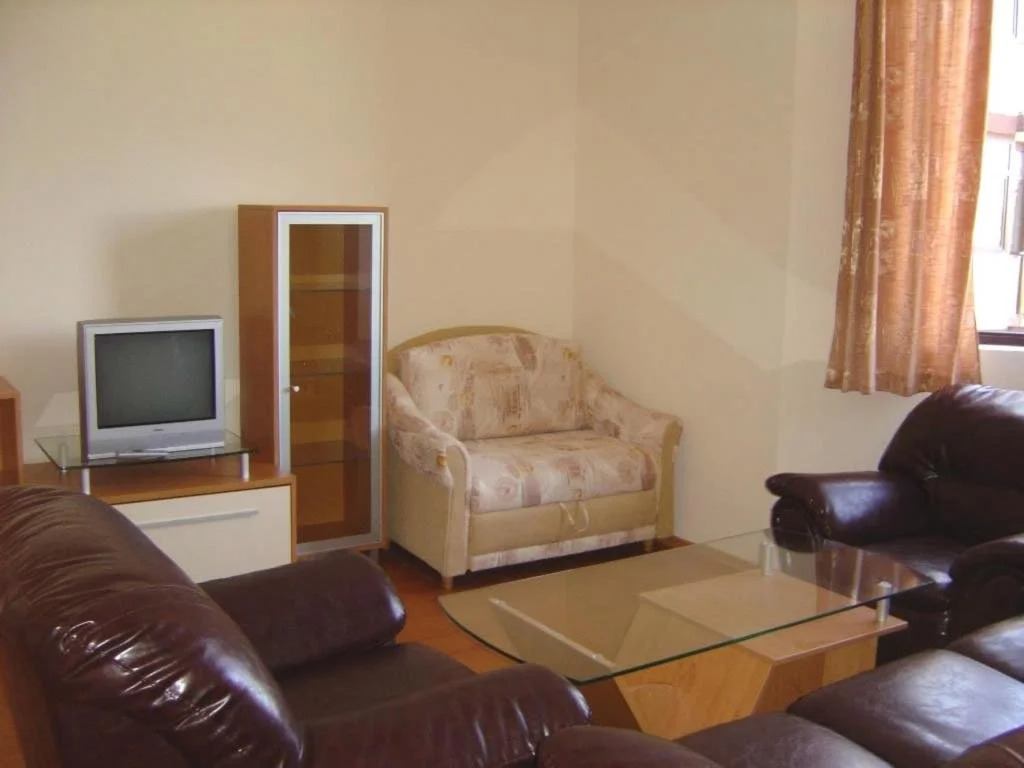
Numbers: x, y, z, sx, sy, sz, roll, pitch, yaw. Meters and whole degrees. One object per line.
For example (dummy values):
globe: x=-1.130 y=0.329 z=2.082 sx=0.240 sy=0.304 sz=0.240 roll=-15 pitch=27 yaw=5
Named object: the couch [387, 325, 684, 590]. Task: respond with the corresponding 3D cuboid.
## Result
couch: x=0.080 y=0.284 z=4.340 sx=1.479 sy=1.104 sz=0.938 roll=-4 pitch=9 yaw=-33
